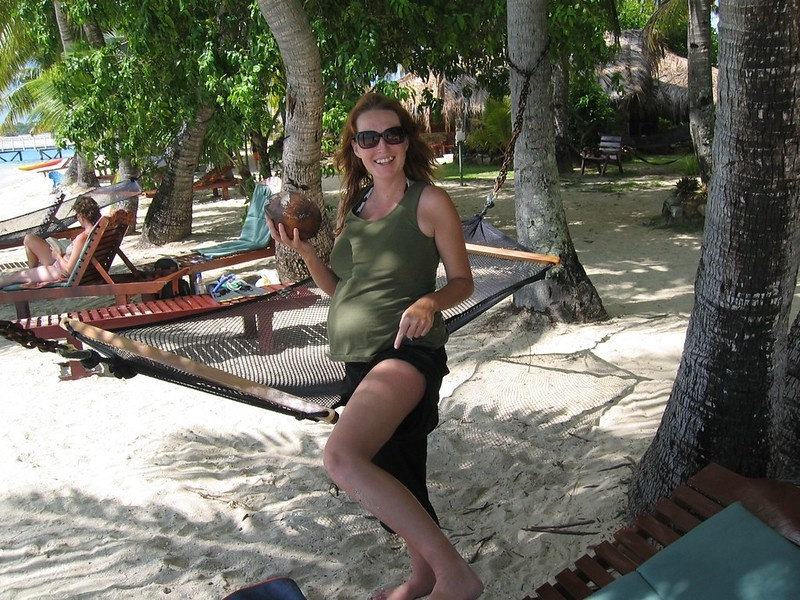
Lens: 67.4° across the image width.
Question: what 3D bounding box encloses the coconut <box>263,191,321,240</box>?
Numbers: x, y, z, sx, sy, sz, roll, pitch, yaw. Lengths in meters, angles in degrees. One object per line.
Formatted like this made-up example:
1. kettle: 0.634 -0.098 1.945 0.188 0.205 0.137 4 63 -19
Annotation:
1. coconut: -0.526 -0.407 2.948 0.258 0.215 0.203 19 10 13

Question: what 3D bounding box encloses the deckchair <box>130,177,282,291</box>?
1. deckchair: -2.115 -0.821 7.323 0.569 1.121 1.655 15 20 34
